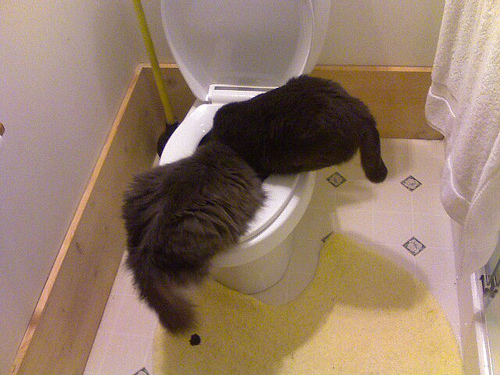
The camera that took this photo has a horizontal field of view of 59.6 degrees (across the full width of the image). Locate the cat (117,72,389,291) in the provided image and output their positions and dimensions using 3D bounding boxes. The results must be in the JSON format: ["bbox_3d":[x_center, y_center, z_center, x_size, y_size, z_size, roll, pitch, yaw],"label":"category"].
[{"bbox_3d":[0.037,0.042,1.358,0.491,0.272,0.738,36,70,31],"label":"cat"}]

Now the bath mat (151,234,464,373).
[{"bbox_3d":[0.168,0.452,1.500,0.978,0.212,0.497,-15,42,4],"label":"bath mat"}]
